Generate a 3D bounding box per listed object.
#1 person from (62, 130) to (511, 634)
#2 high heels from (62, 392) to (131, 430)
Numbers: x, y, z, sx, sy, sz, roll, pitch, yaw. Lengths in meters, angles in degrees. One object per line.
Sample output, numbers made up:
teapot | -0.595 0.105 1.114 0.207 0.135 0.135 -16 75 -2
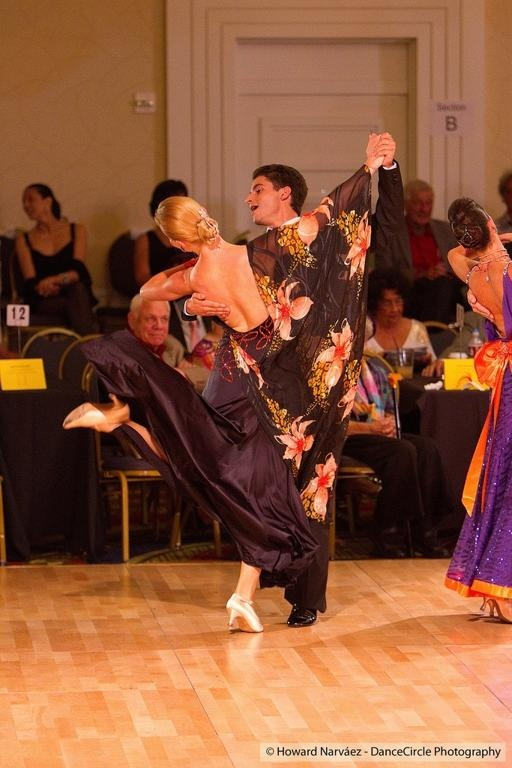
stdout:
person | -0.060 -0.010 2.339 0.850 1.517 0.370 4 7 8
high heels | -0.559 0.110 2.521 0.282 0.082 0.102 -11 -36 6
